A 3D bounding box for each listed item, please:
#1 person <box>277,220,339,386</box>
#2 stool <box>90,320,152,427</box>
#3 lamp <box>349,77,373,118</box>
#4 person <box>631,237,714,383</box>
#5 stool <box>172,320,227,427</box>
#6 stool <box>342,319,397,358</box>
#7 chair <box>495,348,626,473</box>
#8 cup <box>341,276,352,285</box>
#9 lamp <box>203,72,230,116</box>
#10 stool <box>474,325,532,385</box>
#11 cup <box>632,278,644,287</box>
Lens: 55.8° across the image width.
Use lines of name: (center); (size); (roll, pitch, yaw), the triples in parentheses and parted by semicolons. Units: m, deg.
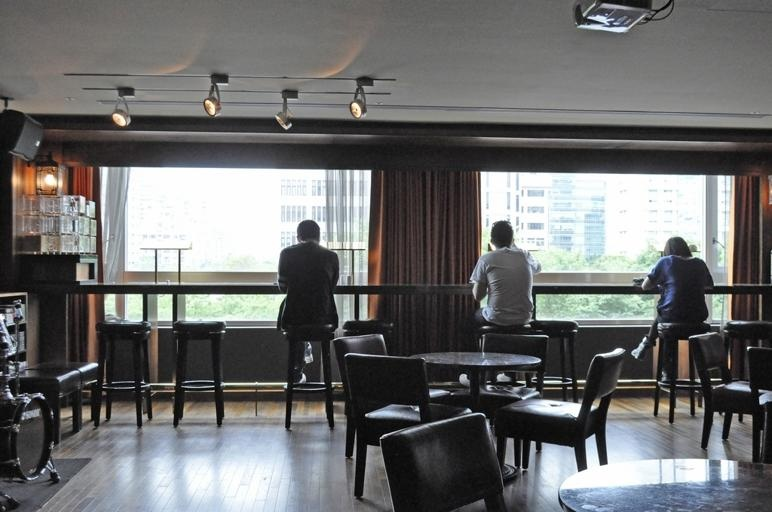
person: (-0.776, 0.192, 7.200); (0.590, 1.055, 0.323); (-1, 8, -8)
stool: (-2.674, 1.149, 7.371); (0.631, 0.925, 0.641); (-5, -5, 40)
lamp: (-0.238, -1.541, 7.161); (0.229, 0.365, 0.525); (-1, 7, -2)
person: (3.005, 0.556, 7.631); (0.733, 1.491, 0.507); (6, 10, 39)
stool: (-1.978, 1.150, 7.620); (0.524, 1.065, 0.881); (-2, 8, -15)
stool: (-0.186, 0.844, 7.499); (0.404, 0.297, 0.392); (5, -6, -37)
chair: (1.408, 1.193, 6.120); (1.161, 1.221, 0.906); (1, -4, 24)
cup: (-0.467, 0.286, 8.507); (0.130, 0.094, 0.142); (3, -6, 0)
lamp: (-1.634, -1.524, 6.928); (0.227, 0.353, 0.191); (0, -2, -18)
stool: (1.073, 0.981, 7.116); (0.590, 0.683, 0.571); (0, -10, 3)
cup: (2.766, 0.295, 7.966); (0.106, 0.050, 0.167); (-2, -3, 13)
